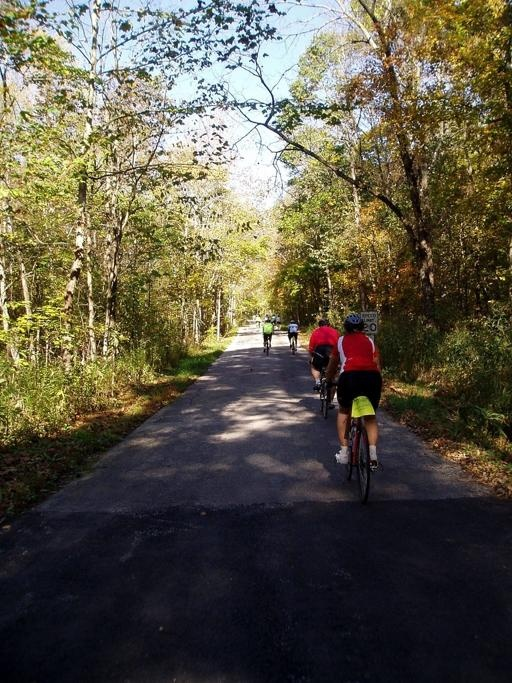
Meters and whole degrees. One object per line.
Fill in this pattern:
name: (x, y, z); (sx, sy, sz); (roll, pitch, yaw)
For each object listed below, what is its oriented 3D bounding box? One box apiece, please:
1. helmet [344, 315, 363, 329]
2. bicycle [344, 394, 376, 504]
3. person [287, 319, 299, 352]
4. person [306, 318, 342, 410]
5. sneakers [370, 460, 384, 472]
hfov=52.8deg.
helmet: (1.083, -0.222, 5.782); (0.145, 0.199, 0.199); (4, 22, 2)
bicycle: (1.050, 1.085, 5.236); (0.339, 0.514, 0.807); (0, 10, 2)
person: (1.699, -0.407, 24.160); (0.662, 0.967, 1.470); (1, 16, 2)
person: (1.226, 0.531, 9.375); (0.689, 1.048, 1.552); (0, 26, 1)
sneakers: (1.129, 1.204, 4.932); (0.113, 0.071, 0.155); (2, -4, -1)
